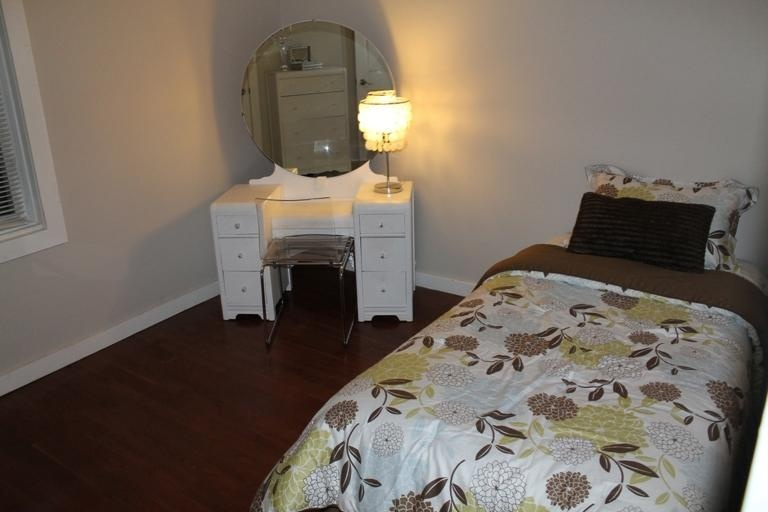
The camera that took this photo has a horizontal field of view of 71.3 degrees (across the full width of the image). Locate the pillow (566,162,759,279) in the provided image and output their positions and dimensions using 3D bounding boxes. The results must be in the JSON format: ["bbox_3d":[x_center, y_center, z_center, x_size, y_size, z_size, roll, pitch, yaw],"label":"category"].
[{"bbox_3d":[1.719,-0.295,2.952,0.882,0.621,0.237,8,-21,24],"label":"pillow"}]

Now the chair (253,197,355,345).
[{"bbox_3d":[-0.611,0.106,3.895,0.721,0.913,0.743,4,9,11],"label":"chair"}]

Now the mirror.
[{"bbox_3d":[-0.483,-1.107,3.884,1.182,1.107,0.018,2,11,22],"label":"mirror"}]

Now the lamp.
[{"bbox_3d":[0.002,-0.827,3.850,0.349,0.705,0.416,-8,19,-21],"label":"lamp"}]

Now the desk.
[{"bbox_3d":[-0.498,-0.065,3.828,1.112,0.759,0.414,0,26,4],"label":"desk"}]
